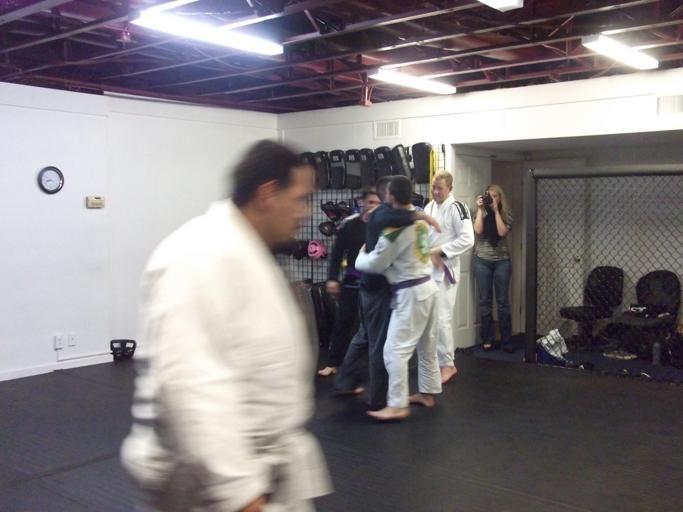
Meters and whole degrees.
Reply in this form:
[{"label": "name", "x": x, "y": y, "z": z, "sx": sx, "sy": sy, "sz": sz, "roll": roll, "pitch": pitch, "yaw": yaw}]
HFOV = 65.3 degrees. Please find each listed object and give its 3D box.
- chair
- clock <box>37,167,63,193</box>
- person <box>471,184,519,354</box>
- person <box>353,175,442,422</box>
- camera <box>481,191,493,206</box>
[{"label": "chair", "x": 3.865, "y": 0.751, "z": 7.453, "sx": 1.753, "sy": 1.505, "sz": 1.047, "roll": 2, "pitch": 2, "yaw": 45}, {"label": "clock", "x": -3.631, "y": -0.943, "z": 6.640, "sx": 0.074, "sy": 0.355, "sz": 0.301, "roll": 3, "pitch": 6, "yaw": 39}, {"label": "person", "x": 2.145, "y": 0.163, "z": 7.565, "sx": 0.531, "sy": 2.316, "sz": 0.404, "roll": 0, "pitch": 5, "yaw": 15}, {"label": "person", "x": 0.596, "y": 0.588, "z": 4.932, "sx": 0.500, "sy": 1.847, "sz": 0.798, "roll": 4, "pitch": 7, "yaw": 45}, {"label": "camera", "x": 2.040, "y": -0.808, "z": 7.485, "sx": 0.164, "sy": 0.189, "sz": 0.176, "roll": 4, "pitch": -1, "yaw": 8}]
